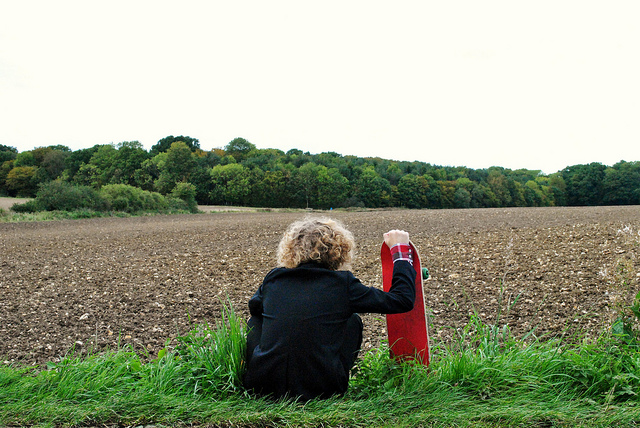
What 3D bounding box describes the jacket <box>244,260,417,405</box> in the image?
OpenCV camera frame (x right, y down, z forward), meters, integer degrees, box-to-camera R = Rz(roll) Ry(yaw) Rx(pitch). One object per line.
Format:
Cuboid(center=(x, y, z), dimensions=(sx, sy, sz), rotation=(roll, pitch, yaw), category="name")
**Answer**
Cuboid(center=(0.030, 1.609, 7.959), dimensions=(2.089, 1.757, 0.381), rotation=(-2, 0, -5), category="jacket")
